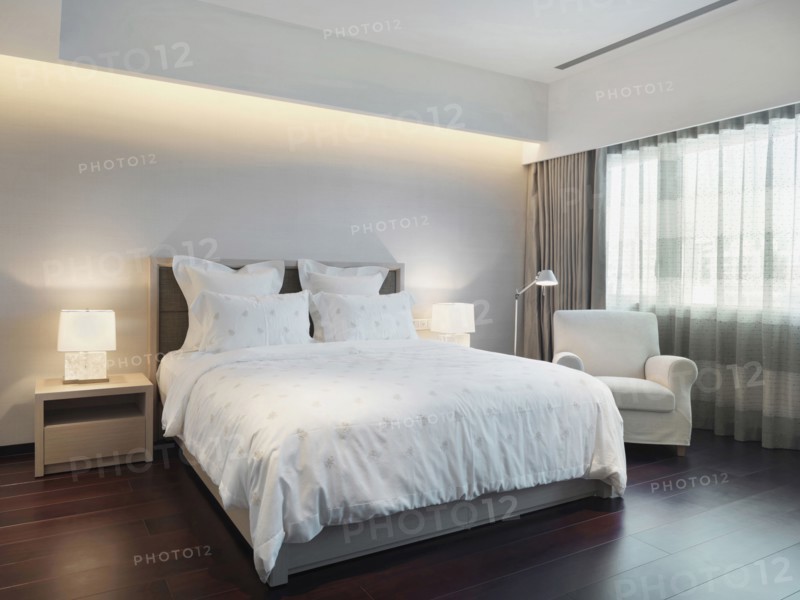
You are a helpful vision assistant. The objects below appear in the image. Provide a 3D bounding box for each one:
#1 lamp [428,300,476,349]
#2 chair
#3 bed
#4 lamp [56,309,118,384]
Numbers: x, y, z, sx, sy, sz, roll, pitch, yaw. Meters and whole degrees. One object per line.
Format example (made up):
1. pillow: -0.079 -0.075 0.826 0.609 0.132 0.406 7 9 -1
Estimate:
1. lamp: 0.522 0.264 5.522 0.406 0.602 0.404 0 -2 13
2. chair: 1.994 0.726 4.782 1.164 1.389 1.128 0 -16 12
3. bed: -0.214 0.904 3.798 2.160 1.248 2.179 1 -4 -31
4. lamp: -2.304 0.334 4.032 0.494 0.758 0.248 0 8 -32
